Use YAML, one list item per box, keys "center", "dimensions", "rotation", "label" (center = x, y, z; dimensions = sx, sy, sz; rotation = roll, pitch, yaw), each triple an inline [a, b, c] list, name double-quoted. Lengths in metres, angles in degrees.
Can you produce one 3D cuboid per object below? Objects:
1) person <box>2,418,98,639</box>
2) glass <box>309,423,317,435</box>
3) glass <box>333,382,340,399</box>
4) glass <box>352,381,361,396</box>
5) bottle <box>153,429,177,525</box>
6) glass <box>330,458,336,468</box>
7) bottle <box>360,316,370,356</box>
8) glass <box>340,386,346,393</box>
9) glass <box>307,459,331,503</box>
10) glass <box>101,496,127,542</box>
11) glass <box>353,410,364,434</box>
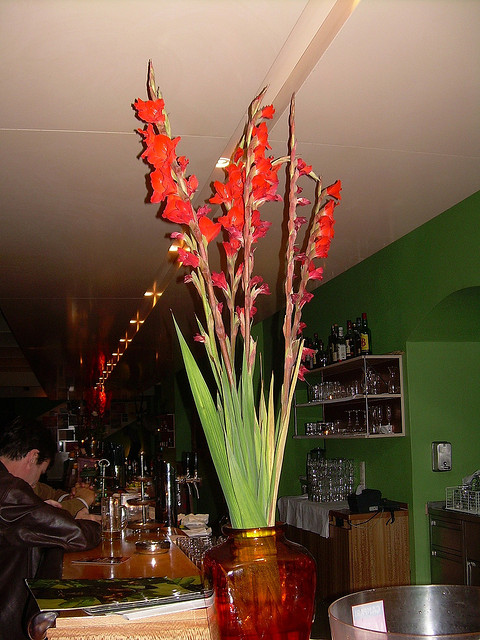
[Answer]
- center: [-1.032, 0.996, 2.428]
  dimensions: [0.518, 0.974, 0.913]
  rotation: [3, -13, -19]
  label: "person"
- center: [0.772, 1.161, 4.971]
  dimensions: [0.084, 0.109, 0.091]
  rotation: [0, -13, 1]
  label: "glass"
- center: [0.934, 0.684, 4.532]
  dimensions: [0.035, 0.162, 0.019]
  rotation: [-10, -49, 18]
  label: "glass"
- center: [1.027, 0.603, 4.141]
  dimensions: [0.055, 0.117, 0.128]
  rotation: [0, -13, -7]
  label: "glass"
- center: [-0.523, 1.127, 3.192]
  dimensions: [0.220, 0.588, 0.229]
  rotation: [-2, -14, -1]
  label: "bottle"
- center: [0.930, 1.460, 4.761]
  dimensions: [0.053, 0.105, 0.057]
  rotation: [0, -12, 1]
  label: "glass"
- center: [1.157, 0.134, 4.345]
  dimensions: [0.097, 0.398, 0.256]
  rotation: [-5, -13, 16]
  label: "bottle"
- center: [0.975, 0.654, 4.442]
  dimensions: [0.042, 0.048, 0.081]
  rotation: [-3, -12, 11]
  label: "glass"
- center: [0.850, 1.693, 4.915]
  dimensions: [0.310, 0.406, 0.337]
  rotation: [-13, -39, 24]
  label: "glass"
- center: [-0.770, 1.188, 2.805]
  dimensions: [0.125, 0.240, 0.216]
  rotation: [2, -13, -16]
  label: "glass"
- center: [1.160, 0.983, 4.570]
  dimensions: [0.079, 0.227, 0.522]
  rotation: [-4, -14, 12]
  label: "glass"
